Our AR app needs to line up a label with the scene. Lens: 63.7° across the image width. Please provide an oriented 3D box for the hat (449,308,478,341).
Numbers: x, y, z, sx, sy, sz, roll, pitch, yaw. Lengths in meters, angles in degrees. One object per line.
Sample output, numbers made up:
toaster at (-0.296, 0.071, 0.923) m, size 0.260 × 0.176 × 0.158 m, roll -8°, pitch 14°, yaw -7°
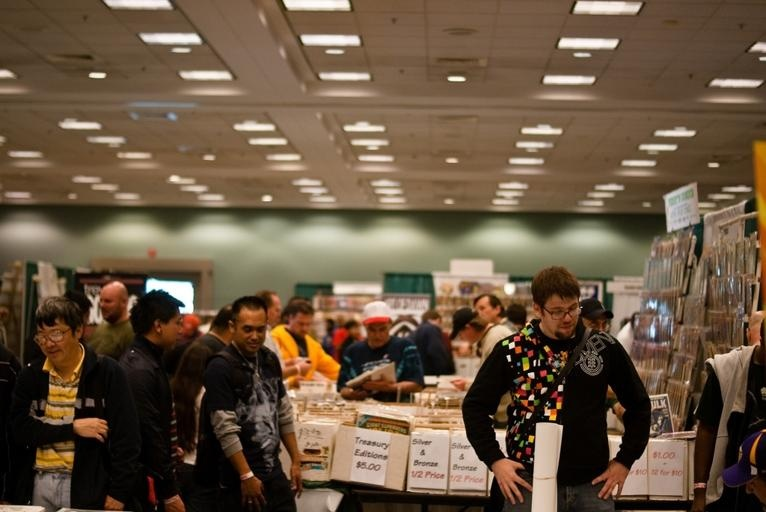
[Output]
hat at (0.900, 0.782, 7.123) m, size 0.357 × 0.192 × 0.249 m, roll -40°, pitch 8°, yaw 25°

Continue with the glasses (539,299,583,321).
glasses at (1.060, 0.334, 3.729) m, size 0.236 × 0.117 × 0.110 m, roll 2°, pitch -5°, yaw 3°

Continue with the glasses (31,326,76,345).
glasses at (-2.118, 0.521, 4.004) m, size 0.209 × 0.063 × 0.212 m, roll -2°, pitch -5°, yaw 1°

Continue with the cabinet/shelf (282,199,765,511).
cabinet/shelf at (1.614, 0.909, 7.233) m, size 2.624 × 3.589 × 1.249 m, roll 2°, pitch -24°, yaw 15°
